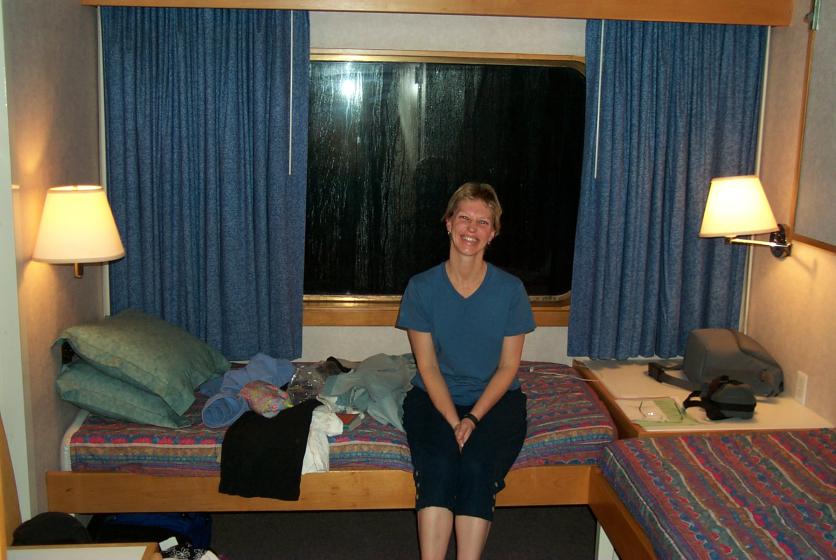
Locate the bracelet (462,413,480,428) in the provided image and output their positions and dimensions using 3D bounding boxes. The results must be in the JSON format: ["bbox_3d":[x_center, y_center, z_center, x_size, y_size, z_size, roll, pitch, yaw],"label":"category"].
[{"bbox_3d":[0.281,0.733,3.884,0.054,0.077,0.080,-53,19,-24],"label":"bracelet"}]

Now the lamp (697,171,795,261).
[{"bbox_3d":[1.952,-0.380,4.457,0.540,0.510,0.494,-2,14,22],"label":"lamp"}]

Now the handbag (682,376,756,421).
[{"bbox_3d":[1.713,0.647,4.187,0.321,0.198,0.237,-6,9,-3],"label":"handbag"}]

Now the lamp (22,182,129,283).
[{"bbox_3d":[-1.876,-0.257,4.056,0.510,0.474,0.504,3,13,3],"label":"lamp"}]

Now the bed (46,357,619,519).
[{"bbox_3d":[-0.502,0.976,4.022,2.296,0.315,1.079,-1,15,-3],"label":"bed"}]

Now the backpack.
[{"bbox_3d":[1.845,0.488,4.487,0.584,0.269,0.446,-1,12,1],"label":"backpack"}]
